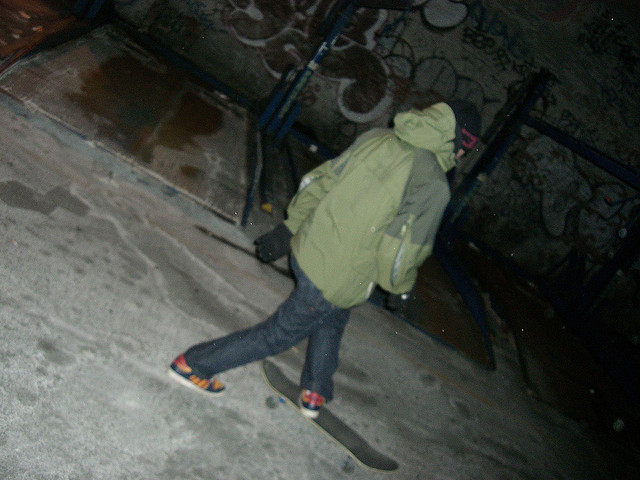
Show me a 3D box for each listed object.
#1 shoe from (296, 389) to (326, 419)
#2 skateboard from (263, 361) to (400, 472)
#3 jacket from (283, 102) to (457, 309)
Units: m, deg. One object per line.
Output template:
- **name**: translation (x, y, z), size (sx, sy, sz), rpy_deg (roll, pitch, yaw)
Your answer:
- **shoe**: translation (-0.088, 1.391, 4.421), size (0.155, 0.122, 0.285), rpy_deg (15, 27, -18)
- **skateboard**: translation (0.061, 1.606, 4.531), size (1.150, 0.193, 0.299), rpy_deg (42, 25, 0)
- **jacket**: translation (0.426, -0.313, 4.124), size (1.275, 1.582, 0.770), rpy_deg (36, 15, 26)
